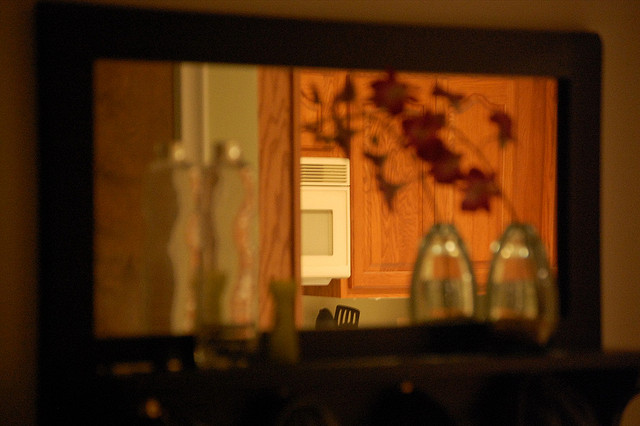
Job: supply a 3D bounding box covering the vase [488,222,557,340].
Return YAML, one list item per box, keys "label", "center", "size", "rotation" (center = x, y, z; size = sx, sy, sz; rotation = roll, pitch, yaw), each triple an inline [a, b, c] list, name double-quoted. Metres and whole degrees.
- label: "vase"
  center: [0.486, 0.160, 1.874]
  size: [0.152, 0.276, 0.080]
  rotation: [0, 0, 12]

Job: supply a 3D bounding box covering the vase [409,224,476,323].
- label: "vase"
  center: [0.296, 0.130, 1.886]
  size: [0.135, 0.148, 0.412]
  rotation: [7, -39, 12]

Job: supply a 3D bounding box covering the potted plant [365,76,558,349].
- label: "potted plant"
  center: [0.385, 0.008, 1.813]
  size: [0.447, 0.674, 0.172]
  rotation: [-1, -4, -4]
